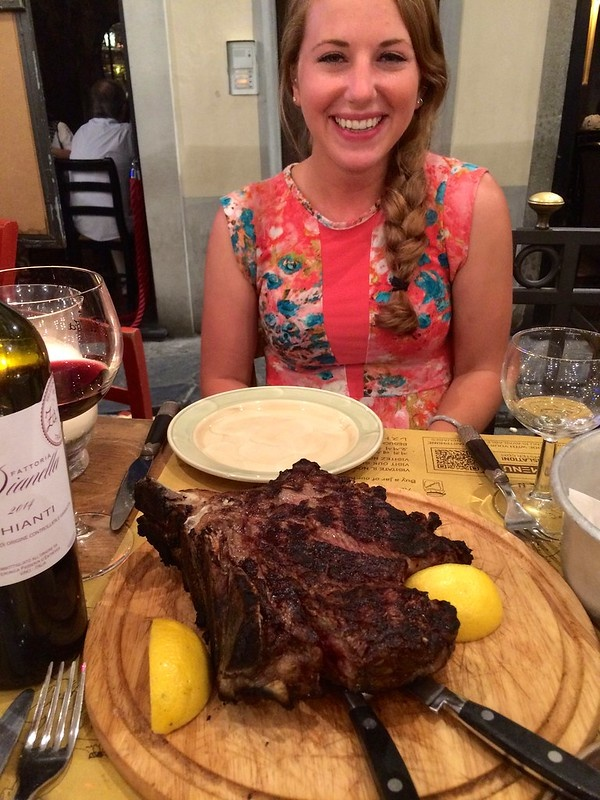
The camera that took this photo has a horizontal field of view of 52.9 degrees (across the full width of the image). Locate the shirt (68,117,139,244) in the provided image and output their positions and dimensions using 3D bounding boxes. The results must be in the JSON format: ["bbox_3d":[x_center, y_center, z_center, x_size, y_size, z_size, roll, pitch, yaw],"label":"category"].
[{"bbox_3d":[-1.554,-1.769,4.745,0.573,0.958,0.627,3,57,-6],"label":"shirt"}]

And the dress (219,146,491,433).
[{"bbox_3d":[0.192,-0.335,1.868,0.855,0.861,0.461,-2,25,1],"label":"dress"}]

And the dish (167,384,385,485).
[{"bbox_3d":[-0.037,0.065,1.234,0.409,0.045,0.415,9,24,16],"label":"dish"}]

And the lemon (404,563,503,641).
[{"bbox_3d":[0.205,0.244,0.773,0.091,0.052,0.096,-3,1,8],"label":"lemon"}]

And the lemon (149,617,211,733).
[{"bbox_3d":[-0.132,0.342,0.700,0.071,0.100,0.131,-6,18,-12],"label":"lemon"}]
